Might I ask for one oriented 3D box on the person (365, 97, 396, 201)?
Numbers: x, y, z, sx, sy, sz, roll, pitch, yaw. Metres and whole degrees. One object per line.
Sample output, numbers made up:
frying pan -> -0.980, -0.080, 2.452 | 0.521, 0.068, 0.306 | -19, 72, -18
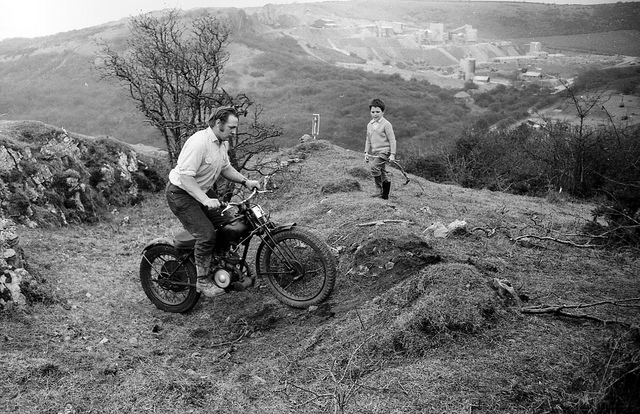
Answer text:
person -> 1.655, -1.463, 14.459 | 0.834, 2.935, 1.240 | -5, 28, 5

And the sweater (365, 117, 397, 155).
sweater -> 1.684, -1.913, 14.339 | 0.936, 0.833, 0.519 | 12, 34, 33

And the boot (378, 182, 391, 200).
boot -> 1.752, -0.418, 14.406 | 0.323, 0.519, 0.193 | -6, 28, 5
